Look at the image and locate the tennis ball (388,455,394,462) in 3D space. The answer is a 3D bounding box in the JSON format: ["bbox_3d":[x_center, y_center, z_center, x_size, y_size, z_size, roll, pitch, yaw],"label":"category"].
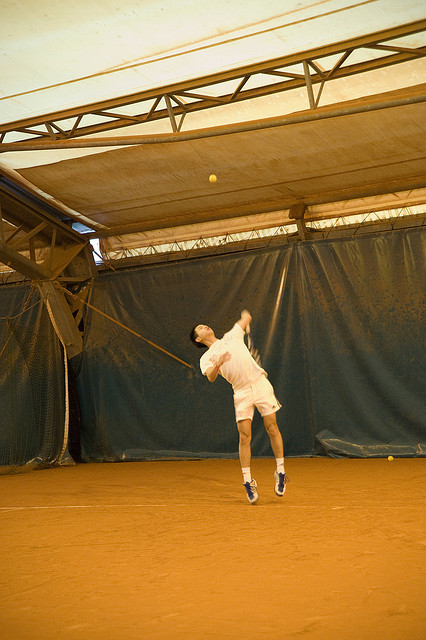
[{"bbox_3d":[2.127,1.654,5.982,0.077,0.038,0.075,-5,-1,0],"label":"tennis ball"}]

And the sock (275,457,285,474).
[{"bbox_3d":[0.481,1.040,3.609,0.044,0.136,0.116,-7,3,-4],"label":"sock"}]
